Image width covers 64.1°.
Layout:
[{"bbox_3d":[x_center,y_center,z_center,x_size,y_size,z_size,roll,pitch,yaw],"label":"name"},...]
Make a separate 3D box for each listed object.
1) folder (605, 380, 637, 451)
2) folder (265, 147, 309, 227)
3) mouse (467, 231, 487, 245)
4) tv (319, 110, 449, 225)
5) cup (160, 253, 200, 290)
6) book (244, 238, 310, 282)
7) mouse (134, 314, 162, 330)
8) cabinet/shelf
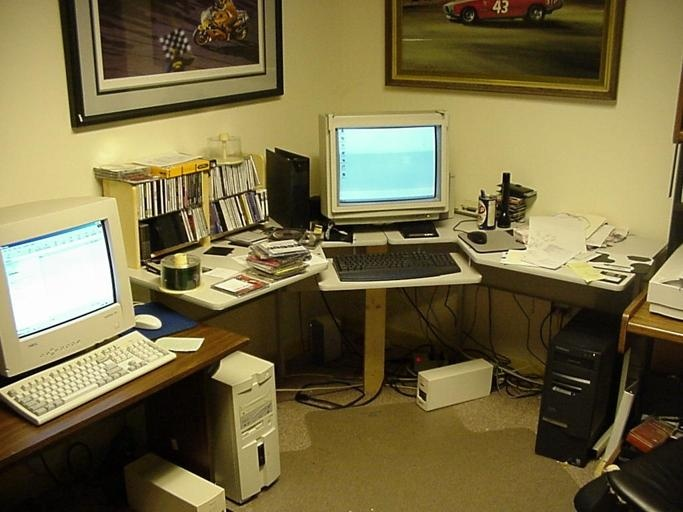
[{"bbox_3d":[1.427,0.819,2.786,0.046,0.470,0.267,19,30,23],"label":"folder"},{"bbox_3d":[-0.312,-0.391,3.191,0.145,0.385,0.388,-13,26,-36],"label":"folder"},{"bbox_3d":[0.767,-0.101,3.054,0.087,0.023,0.071,-14,39,-16],"label":"mouse"},{"bbox_3d":[0.156,-0.481,3.409,1.056,0.844,0.593,-2,9,-6],"label":"tv"},{"bbox_3d":[-0.742,0.082,2.591,0.174,0.144,0.170,1,12,0],"label":"cup"},{"bbox_3d":[-0.314,0.013,2.721,0.318,0.147,0.198,-4,19,-4],"label":"book"},{"bbox_3d":[-0.858,0.293,2.451,0.103,0.026,0.062,11,17,20],"label":"mouse"},{"bbox_3d":[-0.821,-0.220,2.772,0.594,0.300,0.172,-27,28,-38],"label":"cabinet/shelf"}]
